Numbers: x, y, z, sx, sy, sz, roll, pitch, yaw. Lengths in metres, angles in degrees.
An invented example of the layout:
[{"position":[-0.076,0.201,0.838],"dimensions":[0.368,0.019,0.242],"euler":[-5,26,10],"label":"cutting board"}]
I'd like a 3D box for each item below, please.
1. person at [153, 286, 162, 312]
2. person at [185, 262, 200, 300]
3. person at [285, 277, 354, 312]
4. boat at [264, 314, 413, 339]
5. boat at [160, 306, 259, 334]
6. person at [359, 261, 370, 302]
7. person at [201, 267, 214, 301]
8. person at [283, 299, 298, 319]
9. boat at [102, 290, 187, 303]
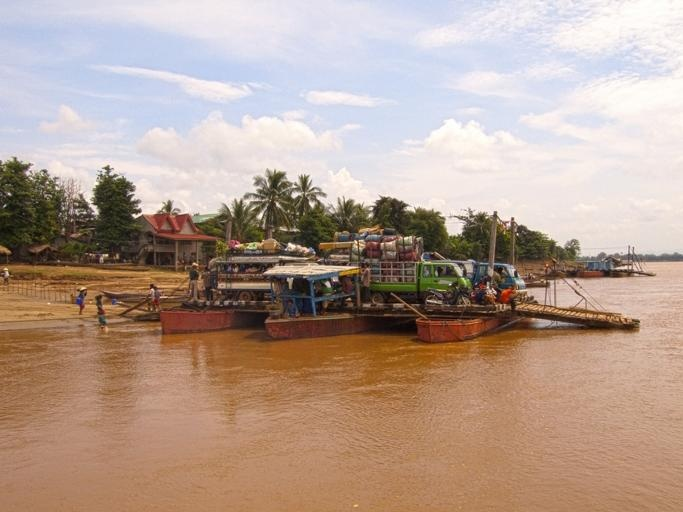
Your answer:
[{"position":[-8.849,1.963,30.130],"dimensions":[0.394,1.240,1.468],"euler":[-4,10,-17],"label":"person"},{"position":[-6.850,1.156,29.198],"dimensions":[0.440,1.499,2.494],"euler":[-4,10,-13],"label":"person"},{"position":[-0.829,1.550,25.353],"dimensions":[2.179,1.130,1.476],"euler":[-5,6,-44],"label":"person"},{"position":[-0.317,2.761,24.721],"dimensions":[4.123,0.511,0.805],"euler":[-3,1,-29],"label":"boat"},{"position":[-4.662,2.773,27.757],"dimensions":[6.686,1.258,1.448],"euler":[3,-7,-42],"label":"boat"},{"position":[0.988,1.117,25.984],"dimensions":[0.401,1.639,0.911],"euler":[-1,10,1],"label":"person"},{"position":[-6.002,1.253,28.381],"dimensions":[0.711,1.356,0.814],"euler":[7,-3,-20],"label":"person"},{"position":[-2.022,2.080,24.617],"dimensions":[0.606,0.728,0.419],"euler":[-6,-28,-6],"label":"person"},{"position":[-10.166,2.093,32.620],"dimensions":[3.847,0.510,0.849],"euler":[2,-1,9],"label":"boat"}]
